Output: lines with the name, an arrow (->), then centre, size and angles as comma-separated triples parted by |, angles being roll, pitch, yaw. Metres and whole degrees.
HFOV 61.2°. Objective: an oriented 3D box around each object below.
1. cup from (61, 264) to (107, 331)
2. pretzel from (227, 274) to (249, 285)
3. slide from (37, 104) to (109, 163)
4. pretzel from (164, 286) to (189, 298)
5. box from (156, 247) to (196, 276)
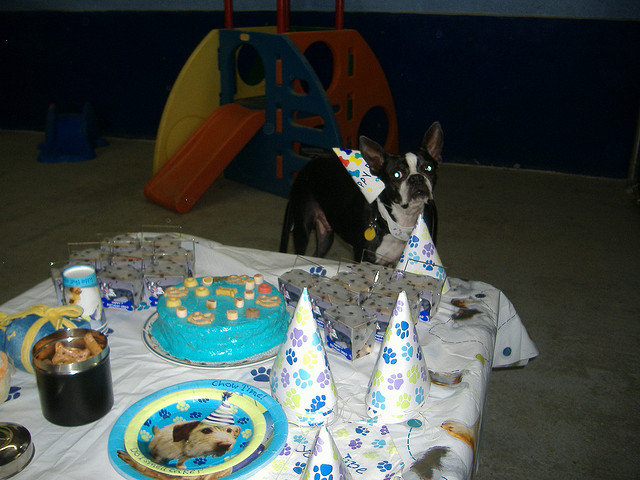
cup -> -0.828, 0.221, 1.906 | 0.133, 0.221, 0.143 | -2, 11, 0
pretzel -> -0.297, 0.138, 1.980 | 0.046, 0.015, 0.038 | 8, 18, 30
slide -> -3.218, -1.444, 6.979 | 0.816, 0.614, 1.165 | -3, 22, -14
pretzel -> -0.509, 0.181, 1.921 | 0.043, 0.015, 0.044 | 12, 19, 38
box -> -0.577, 0.068, 2.201 | 0.115, 0.083, 0.125 | 2, 15, 6
